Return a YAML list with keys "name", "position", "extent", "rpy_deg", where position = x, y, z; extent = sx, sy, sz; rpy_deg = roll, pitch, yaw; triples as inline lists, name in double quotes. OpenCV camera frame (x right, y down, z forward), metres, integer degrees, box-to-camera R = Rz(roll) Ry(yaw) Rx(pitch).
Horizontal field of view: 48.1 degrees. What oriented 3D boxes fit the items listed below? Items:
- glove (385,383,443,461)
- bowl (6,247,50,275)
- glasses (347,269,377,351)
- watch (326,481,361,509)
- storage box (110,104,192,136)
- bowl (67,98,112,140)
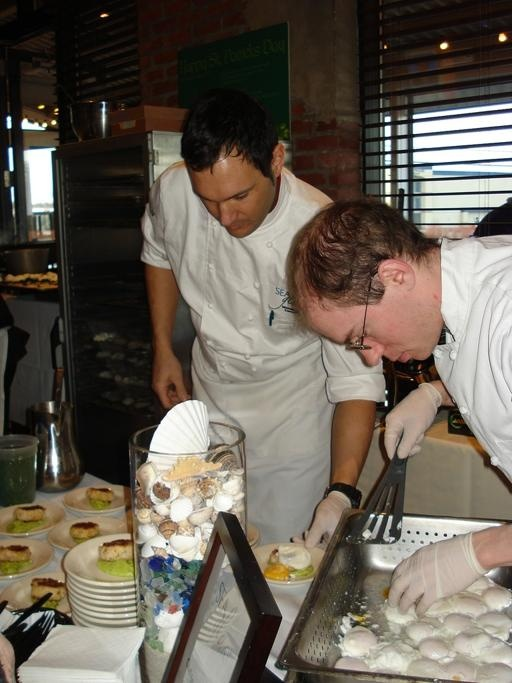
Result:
- name: "glove"
  position: [0.308, 0.157, 1.131]
  extent: [0.101, 0.046, 0.174]
  rpy_deg: [-10, 38, 29]
- name: "bowl"
  position: [-1.664, -0.580, 4.147]
  extent: [0.248, 0.167, 0.242]
  rpy_deg: [0, 1, 0]
- name: "glasses"
  position: [0.166, -0.044, 0.873]
  extent: [0.030, 0.096, 0.072]
  rpy_deg: [11, 3, -9]
- name: "watch"
  position: [0.185, 0.304, 1.152]
  extent: [0.067, 0.043, 0.067]
  rpy_deg: [27, -16, -3]
- name: "storage box"
  position: [-0.432, -0.863, 2.234]
  extent: [0.239, 0.085, 0.233]
  rpy_deg: [10, 14, 40]
- name: "bowl"
  position: [-0.744, -1.007, 2.551]
  extent: [0.235, 0.165, 0.239]
  rpy_deg: [0, 6, 0]
